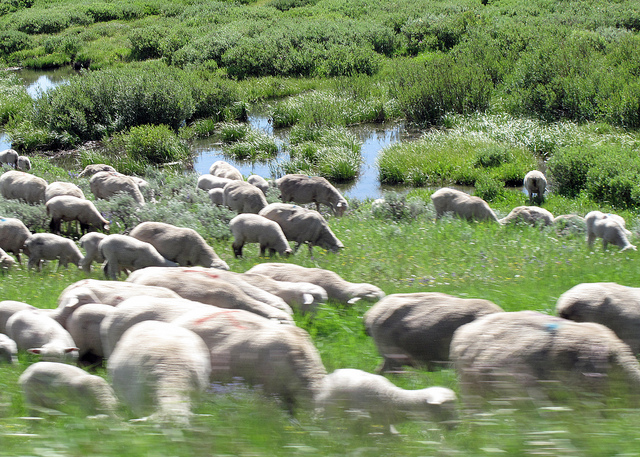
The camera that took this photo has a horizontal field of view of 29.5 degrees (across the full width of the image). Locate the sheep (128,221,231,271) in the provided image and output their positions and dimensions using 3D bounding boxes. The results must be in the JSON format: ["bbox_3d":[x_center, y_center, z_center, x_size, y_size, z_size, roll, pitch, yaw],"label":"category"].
[{"bbox_3d":[-5.241,0.803,46.044,2.370,1.930,2.692,12,19,36],"label":"sheep"}]

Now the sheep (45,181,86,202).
[{"bbox_3d":[-10.238,-1.385,48.948,1.485,0.750,0.744,19,18,-6],"label":"sheep"}]

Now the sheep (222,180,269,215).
[{"bbox_3d":[-3.036,-1.207,48.501,1.878,1.223,0.701,9,17,33],"label":"sheep"}]

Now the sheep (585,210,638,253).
[{"bbox_3d":[10.848,0.132,46.330,0.864,1.262,2.478,-18,36,-33],"label":"sheep"}]

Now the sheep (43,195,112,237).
[{"bbox_3d":[-9.647,-0.560,47.945,3.244,1.683,1.247,2,11,-4],"label":"sheep"}]

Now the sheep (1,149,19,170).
[{"bbox_3d":[-13.938,-3.220,54.682,0.512,0.668,1.030,-10,24,-44],"label":"sheep"}]

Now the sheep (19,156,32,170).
[{"bbox_3d":[-13.291,-2.938,54.812,0.491,0.602,0.690,-4,15,-14],"label":"sheep"}]

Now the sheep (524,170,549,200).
[{"bbox_3d":[9.014,-1.812,51.031,0.912,1.199,0.663,-2,14,-5],"label":"sheep"}]
